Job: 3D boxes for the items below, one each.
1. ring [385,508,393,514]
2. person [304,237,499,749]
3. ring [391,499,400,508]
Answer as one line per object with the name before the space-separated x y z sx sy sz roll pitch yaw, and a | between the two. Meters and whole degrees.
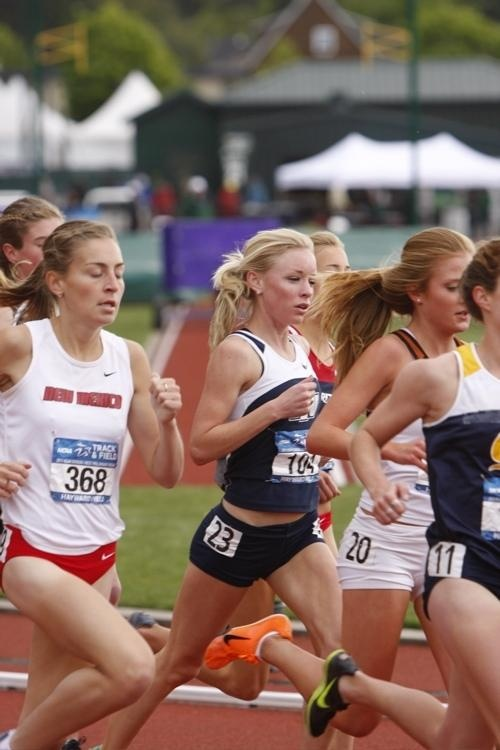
ring | 0.333 0.327 2.081 0.022 0.016 0.005 -3 -2 11
person | 0.418 0.360 2.741 0.496 1.660 0.819 3 7 3
ring | 0.345 0.309 2.074 0.024 0.020 0.006 1 -7 -3
